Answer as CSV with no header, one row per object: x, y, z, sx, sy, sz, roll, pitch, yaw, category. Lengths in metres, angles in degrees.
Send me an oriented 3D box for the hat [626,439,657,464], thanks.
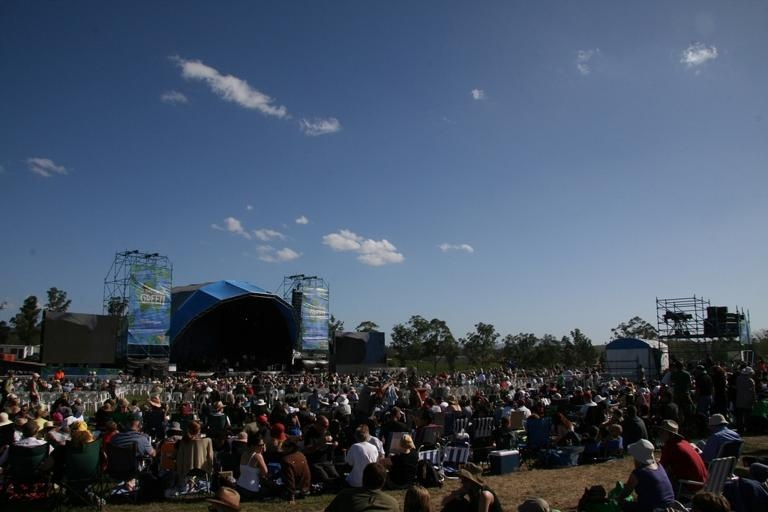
4.645,3.540,9.311,0.486,0.426,0.320,2,-15,-8,hat

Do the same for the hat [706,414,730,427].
7.299,3.632,11.383,0.310,0.251,0.471,-9,-17,29,hat

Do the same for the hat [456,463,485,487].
1.486,3.748,8.850,0.427,0.349,0.236,0,-15,0,hat

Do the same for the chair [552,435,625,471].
5.382,5.333,13.957,2.041,0.654,0.614,2,-16,-16,chair

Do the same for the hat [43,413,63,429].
-8.392,4.232,13.095,0.476,0.222,0.620,1,-14,-15,hat

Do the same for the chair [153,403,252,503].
-4.278,4.667,11.903,1.809,1.646,0.758,-6,-16,21,chair
